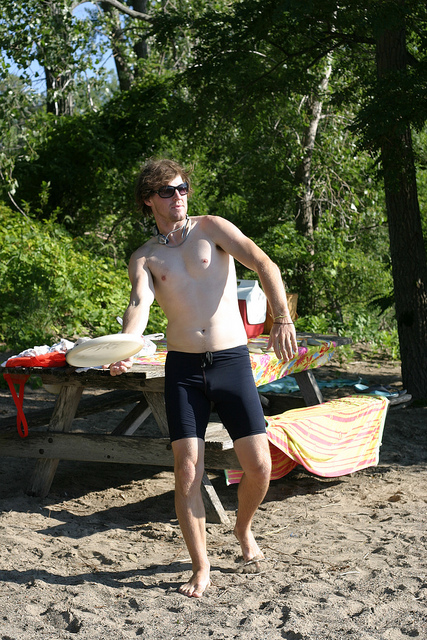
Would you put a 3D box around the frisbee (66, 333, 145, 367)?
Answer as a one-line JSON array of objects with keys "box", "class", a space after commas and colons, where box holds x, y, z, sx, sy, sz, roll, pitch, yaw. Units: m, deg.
[{"box": [-0.435, 0.125, 2.648, 0.239, 0.133, 0.358, -1, -1, -43], "class": "frisbee"}]

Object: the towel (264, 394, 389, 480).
[{"box": [0.665, 0.789, 4.495, 1.303, 0.403, 0.516, -3, 11, -38], "class": "towel"}]

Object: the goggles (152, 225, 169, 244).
[{"box": [-0.245, -0.377, 2.914, 0.037, 0.091, 0.067, -40, 4, -6], "class": "goggles"}]

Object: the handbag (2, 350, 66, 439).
[{"box": [-1.313, 0.564, 4.733, 0.538, 0.657, 0.514, 8, 13, 30], "class": "handbag"}]

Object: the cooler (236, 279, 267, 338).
[{"box": [0.329, -0.103, 5.563, 0.241, 0.497, 0.528, -2, -1, 3], "class": "cooler"}]

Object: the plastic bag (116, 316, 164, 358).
[{"box": [-0.444, 0.087, 4.417, 0.357, 0.300, 0.324, -1, 10, 5], "class": "plastic bag"}]

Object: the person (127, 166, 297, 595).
[{"box": [-0.107, 0.224, 2.779, 0.910, 1.836, 0.806, -3, -6, -1], "class": "person"}]

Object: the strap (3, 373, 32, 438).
[{"box": [-1.249, 0.577, 4.183, 0.191, 0.427, 0.206, -5, 13, -19], "class": "strap"}]
